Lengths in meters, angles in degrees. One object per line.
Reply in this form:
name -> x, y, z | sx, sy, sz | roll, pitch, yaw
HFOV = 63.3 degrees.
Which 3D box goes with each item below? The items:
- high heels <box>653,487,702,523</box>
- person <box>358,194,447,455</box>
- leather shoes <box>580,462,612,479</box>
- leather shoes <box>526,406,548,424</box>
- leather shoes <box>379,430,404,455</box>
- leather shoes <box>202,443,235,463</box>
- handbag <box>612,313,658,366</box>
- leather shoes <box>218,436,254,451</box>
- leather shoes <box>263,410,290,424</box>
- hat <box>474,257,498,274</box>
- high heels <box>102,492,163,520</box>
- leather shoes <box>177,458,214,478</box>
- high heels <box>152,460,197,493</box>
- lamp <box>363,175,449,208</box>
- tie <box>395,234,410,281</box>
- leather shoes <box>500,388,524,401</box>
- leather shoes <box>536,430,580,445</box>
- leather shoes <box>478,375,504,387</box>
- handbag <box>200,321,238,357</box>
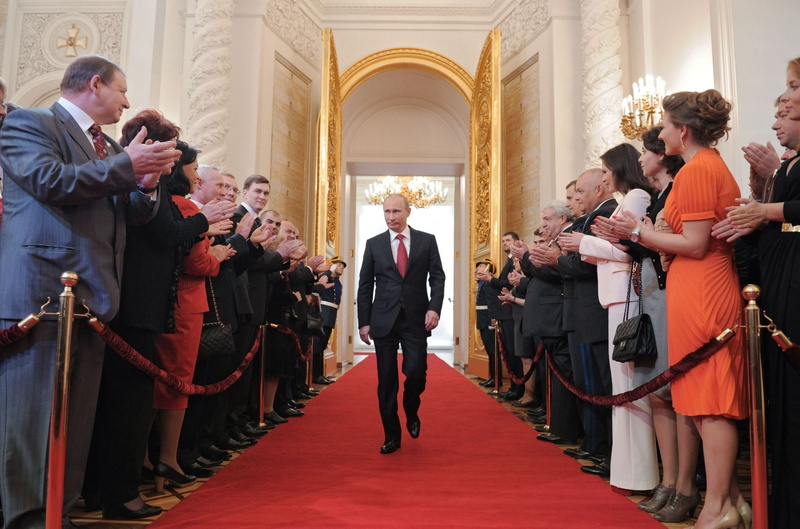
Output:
high heels -> 1.727, 1.500, 4.022 | 0.330, 0.155, 0.132 | -1, -23, -22
person -> 0.014, 0.444, 5.556 | 0.748, 2.166, 0.593 | -1, -1, -4
leather shoes -> 1.468, 1.523, 4.817 | 0.157, 0.066, 0.089 | 1, -7, 24
leather shoes -> 1.403, 1.548, 6.652 | 0.274, 0.112, 0.177 | 11, -17, -36
leather shoes -> -0.075, 1.447, 5.351 | 0.129, 0.158, 0.326 | -2, -1, 20
leather shoes -> -1.414, 1.481, 5.103 | 0.252, 0.097, 0.093 | 4, -3, 0
handbag -> 1.533, 0.487, 4.204 | 0.151, 0.342, 0.259 | 17, -17, -9
leather shoes -> -1.366, 1.485, 5.410 | 0.282, 0.114, 0.090 | 1, 0, -12
leather shoes -> -1.185, 1.472, 6.236 | 0.175, 0.073, 0.094 | 1, -5, 10
hat -> 1.211, 0.022, 9.117 | 0.217, 0.213, 0.291 | 16, 12, 11
high heels -> -1.658, 1.497, 4.003 | 0.311, 0.123, 0.152 | 1, -6, -15
leather shoes -> -1.484, 1.495, 4.760 | 0.275, 0.117, 0.102 | 4, -8, -3
high heels -> -1.584, 1.471, 4.479 | 0.121, 0.196, 0.369 | -3, -12, 32
lamp -> 0.209, -1.867, 16.379 | 1.689, 0.792, 1.712 | 0, 1, -5
tie -> 0.015, -0.069, 5.593 | 0.073, 0.390, 0.064 | 1, -29, 3
leather shoes -> 1.343, 1.560, 7.787 | 0.196, 0.074, 0.148 | 0, -8, -11
leather shoes -> 1.381, 1.516, 5.670 | 0.363, 0.158, 0.123 | -2, -5, 0
leather shoes -> 1.228, 1.639, 8.997 | 0.359, 0.149, 0.216 | 11, -14, -21
handbag -> -1.374, 0.555, 4.858 | 0.325, 0.309, 0.119 | 0, -3, -11
